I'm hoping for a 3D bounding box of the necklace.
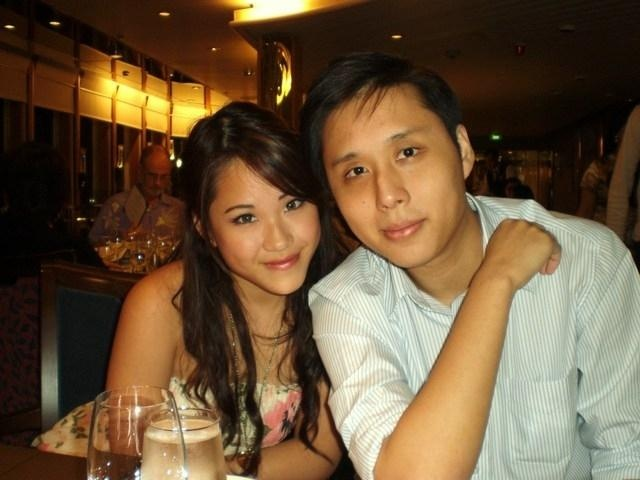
[{"bbox_3d":[-0.280,0.625,2.317,0.240,0.600,0.138,0,-6,-6],"label":"necklace"}]

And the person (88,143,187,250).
[{"bbox_3d":[-1.753,-0.351,5.597,1.040,1.088,0.565,14,-8,-34],"label":"person"}]
